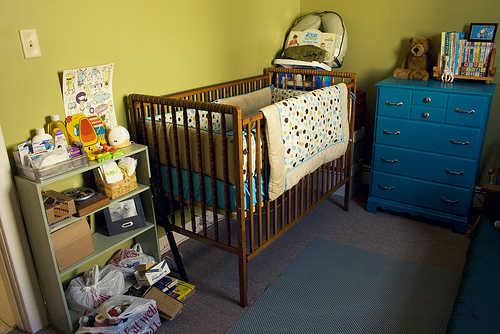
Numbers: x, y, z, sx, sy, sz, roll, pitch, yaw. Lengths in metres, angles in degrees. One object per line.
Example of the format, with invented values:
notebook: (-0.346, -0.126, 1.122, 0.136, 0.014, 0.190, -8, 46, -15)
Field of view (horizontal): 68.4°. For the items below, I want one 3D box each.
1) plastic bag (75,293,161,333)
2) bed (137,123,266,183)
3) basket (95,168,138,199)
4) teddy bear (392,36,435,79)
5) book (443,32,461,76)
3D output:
plastic bag: (-0.795, 0.954, 2.341, 0.306, 0.137, 0.300, -12, 17, -43)
bed: (-0.291, -0.111, 2.560, 0.529, 0.207, 0.558, 15, 22, 27)
basket: (-0.933, 0.110, 2.593, 0.175, 0.113, 0.237, 16, 29, 33)
teddy bear: (1.517, -1.002, 3.383, 0.336, 0.392, 0.309, 0, 23, 7)
book: (1.768, -1.002, 3.204, 0.127, 0.356, 0.328, 3, 10, 18)
